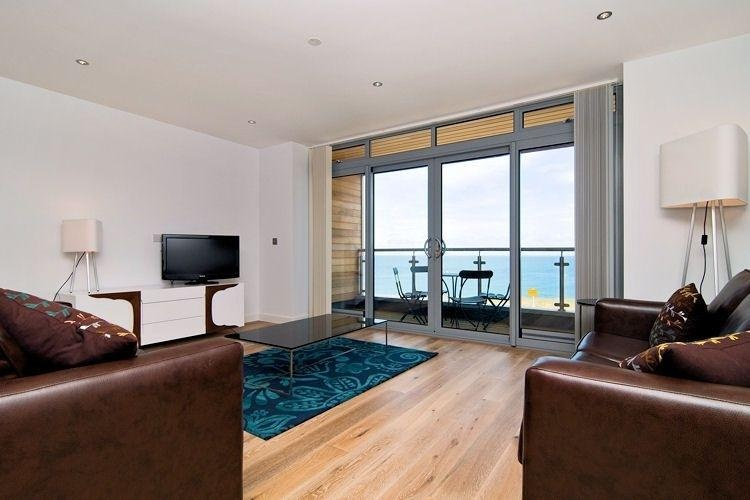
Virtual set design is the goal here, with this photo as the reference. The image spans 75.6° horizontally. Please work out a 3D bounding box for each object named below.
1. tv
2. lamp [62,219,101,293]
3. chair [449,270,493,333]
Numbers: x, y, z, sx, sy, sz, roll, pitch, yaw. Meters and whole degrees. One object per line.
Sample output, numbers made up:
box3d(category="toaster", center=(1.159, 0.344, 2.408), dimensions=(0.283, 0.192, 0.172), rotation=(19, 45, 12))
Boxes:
box3d(category="tv", center=(-2.200, 0.100, 6.004), dimensions=(0.207, 0.421, 0.697), rotation=(-4, -4, 44))
box3d(category="lamp", center=(-3.114, 0.047, 5.148), dimensions=(0.391, 0.755, 0.443), rotation=(-1, -1, -31))
box3d(category="chair", center=(1.159, 0.564, 5.748), dimensions=(0.611, 0.838, 0.641), rotation=(0, -1, 8))
